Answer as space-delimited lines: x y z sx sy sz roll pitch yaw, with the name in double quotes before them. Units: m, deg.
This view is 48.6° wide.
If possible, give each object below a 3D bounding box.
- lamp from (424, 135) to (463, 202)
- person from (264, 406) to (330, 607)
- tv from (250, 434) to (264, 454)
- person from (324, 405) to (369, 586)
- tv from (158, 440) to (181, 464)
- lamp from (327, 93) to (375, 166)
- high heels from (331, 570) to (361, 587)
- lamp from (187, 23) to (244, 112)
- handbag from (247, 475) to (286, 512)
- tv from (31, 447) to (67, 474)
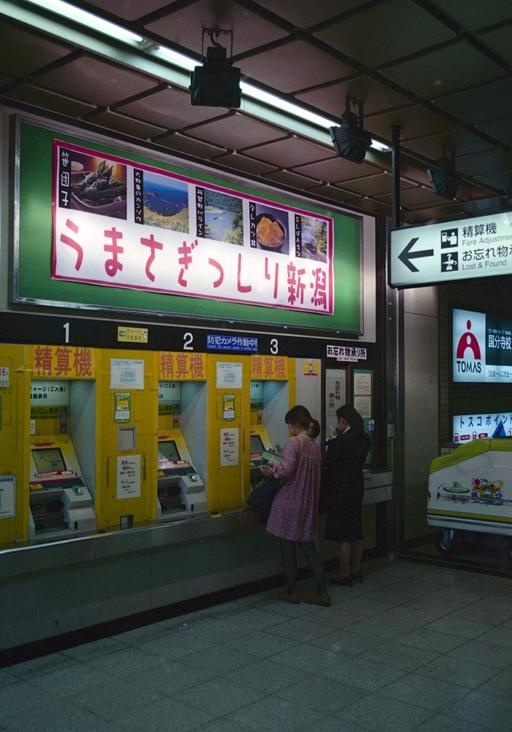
"lamp" 1.438 -1.497 4.273 0.192 0.139 0.396 20 -31 27
"person" 0.255 0.930 3.826 0.394 1.316 0.637 -4 -10 27
"tv" -0.004 0.623 4.476 0.128 0.142 0.032 5 -28 -38
"person" 0.675 0.972 4.278 0.362 1.356 0.494 0 -9 1
"tv" -0.600 0.588 3.923 0.106 0.157 0.185 -6 -11 37
"lamp" 0.593 -1.406 3.381 0.235 0.284 0.245 4 -10 -21
"high heels" 0.692 1.613 4.331 0.159 0.070 0.120 1 0 30
"lamp" -0.173 -1.367 2.594 0.257 0.312 0.211 0 28 -3
"handbag" 0.050 0.856 3.775 0.085 0.265 0.200 31 -8 -26
"tv" -1.178 0.538 3.200 0.049 0.135 0.144 -36 -28 28
